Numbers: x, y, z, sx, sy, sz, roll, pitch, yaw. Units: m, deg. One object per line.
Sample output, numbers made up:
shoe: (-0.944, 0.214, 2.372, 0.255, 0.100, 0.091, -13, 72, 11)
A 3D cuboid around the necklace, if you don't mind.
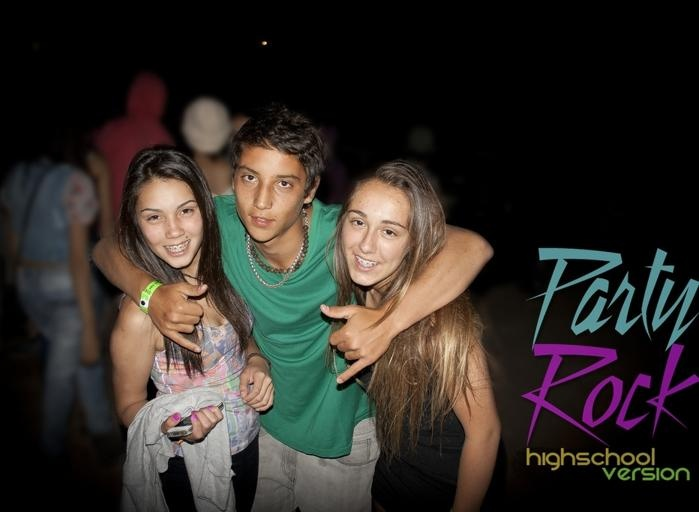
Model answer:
necklace: (-0.553, -0.082, 4.482, 0.417, 0.625, 0.127, -2, 10, 10)
